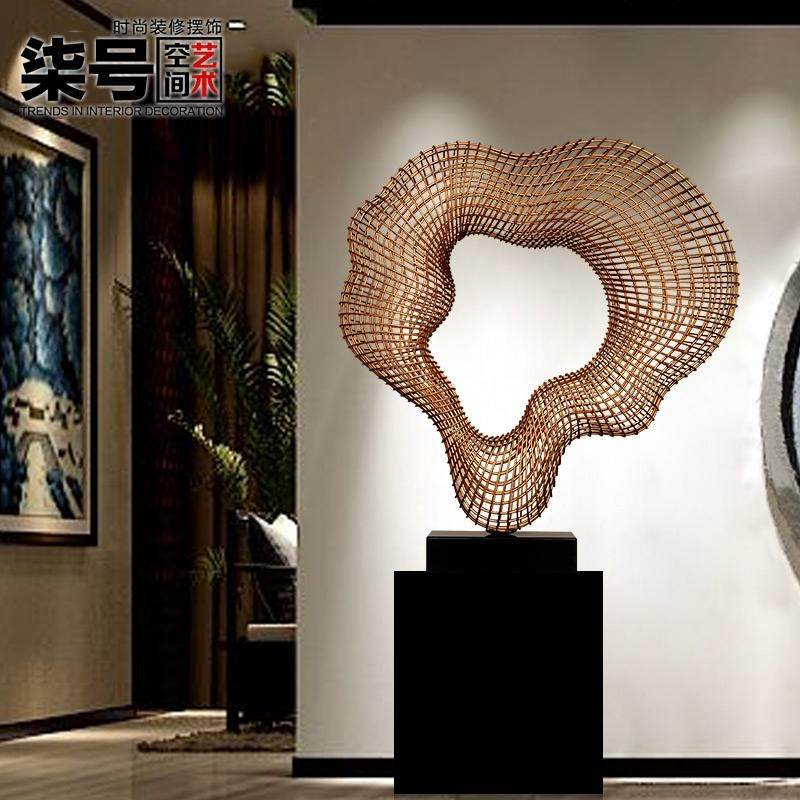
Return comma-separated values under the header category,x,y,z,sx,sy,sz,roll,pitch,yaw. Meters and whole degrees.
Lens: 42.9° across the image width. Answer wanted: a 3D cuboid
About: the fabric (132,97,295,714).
category,x,y,z,sx,sy,sz,roll,pitch,yaw
fabric,-0.672,0.004,3.596,0.584,2.079,0.305,0,-12,2
